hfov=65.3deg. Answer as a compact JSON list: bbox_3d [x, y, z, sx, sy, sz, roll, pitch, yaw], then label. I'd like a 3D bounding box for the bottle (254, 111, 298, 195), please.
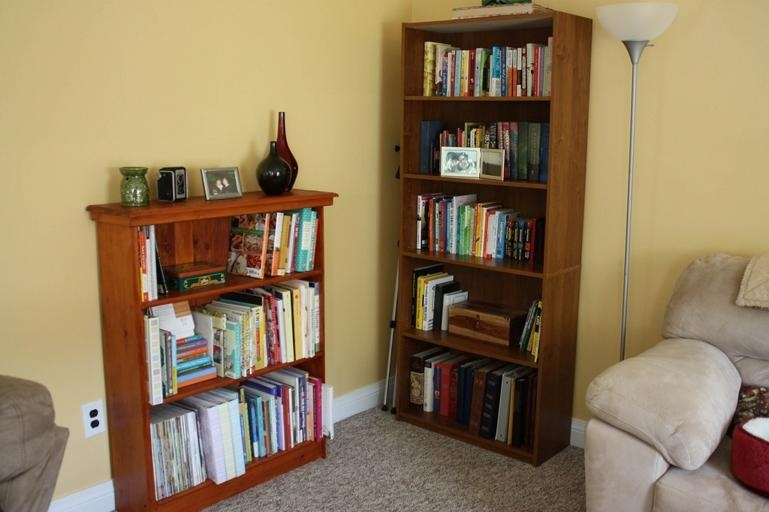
[{"bbox_3d":[-0.596,-0.573,3.312,0.199,0.440,0.326,2,13,11],"label":"bottle"}]

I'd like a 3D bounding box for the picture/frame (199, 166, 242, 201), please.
[{"bbox_3d":[-0.840,-0.376,3.096,0.190,0.154,0.174,-5,14,-16],"label":"picture/frame"}]

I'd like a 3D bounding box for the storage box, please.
[{"bbox_3d":[0.626,0.418,3.739,0.363,0.158,0.268,11,15,37],"label":"storage box"}]

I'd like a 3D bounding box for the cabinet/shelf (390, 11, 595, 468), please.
[{"bbox_3d":[0.648,-0.125,3.681,1.083,2.546,0.647,7,16,31],"label":"cabinet/shelf"}]
